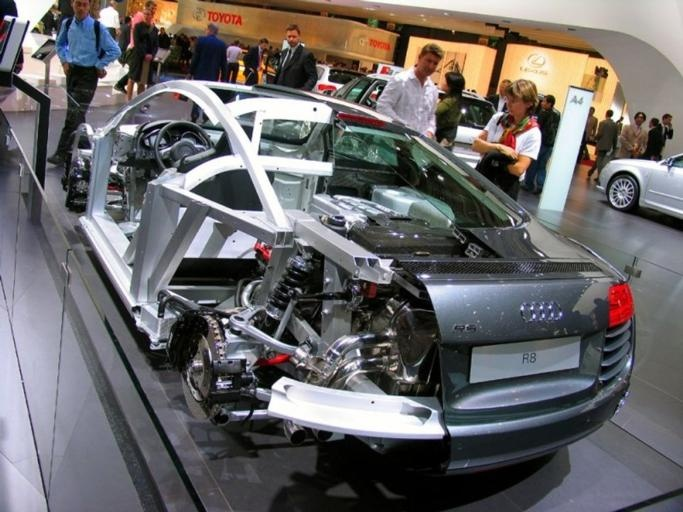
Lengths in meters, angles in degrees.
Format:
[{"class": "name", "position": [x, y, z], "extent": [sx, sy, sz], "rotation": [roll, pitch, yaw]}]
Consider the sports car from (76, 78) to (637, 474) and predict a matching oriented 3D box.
[{"class": "sports car", "position": [-0.080, -0.107, 2.605], "extent": [3.057, 1.567, 1.794], "rotation": [24, 21, 39]}]

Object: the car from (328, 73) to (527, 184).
[{"class": "car", "position": [1.402, -2.213, 8.653], "extent": [1.874, 1.632, 3.303], "rotation": [-2, 37, -34]}]

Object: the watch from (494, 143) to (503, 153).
[{"class": "watch", "position": [1.345, -0.924, 3.900], "extent": [0.071, 0.023, 0.069], "rotation": [41, 10, 19]}]

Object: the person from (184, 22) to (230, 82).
[{"class": "person", "position": [-2.617, -4.072, 9.132], "extent": [0.702, 1.101, 0.658], "rotation": [2, 17, -24]}]
